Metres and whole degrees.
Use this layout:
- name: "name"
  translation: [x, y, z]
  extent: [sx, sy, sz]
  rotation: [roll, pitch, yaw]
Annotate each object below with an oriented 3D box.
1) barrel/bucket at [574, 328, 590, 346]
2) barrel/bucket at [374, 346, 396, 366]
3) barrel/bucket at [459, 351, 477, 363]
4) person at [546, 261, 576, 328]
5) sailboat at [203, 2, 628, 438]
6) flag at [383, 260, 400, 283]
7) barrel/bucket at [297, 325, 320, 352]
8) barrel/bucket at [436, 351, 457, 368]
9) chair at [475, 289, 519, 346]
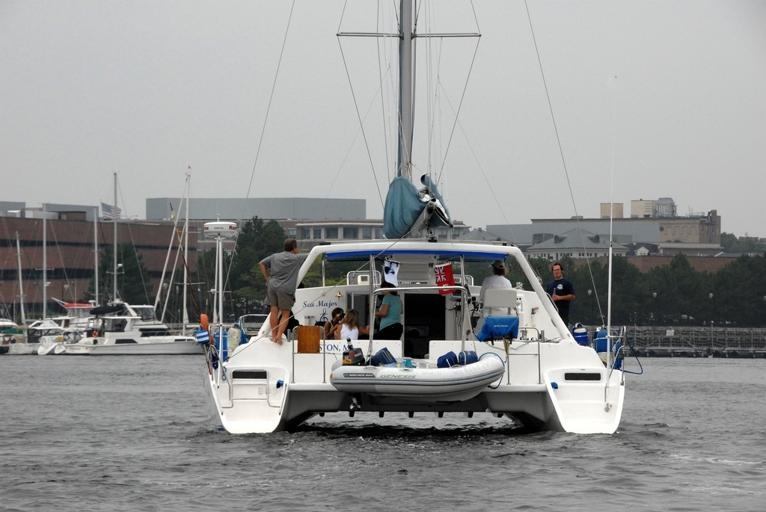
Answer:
- name: "barrel/bucket"
  translation: [5.533, 2.275, 44.957]
  extent: [0.363, 0.519, 0.515]
  rotation: [-1, -4, -2]
- name: "barrel/bucket"
  translation: [0.032, 2.739, 43.448]
  extent: [0.700, 0.439, 0.343]
  rotation: [4, -1, -14]
- name: "barrel/bucket"
  translation: [2.271, 2.768, 43.411]
  extent: [0.387, 0.351, 0.310]
  rotation: [-1, -3, -19]
- name: "person"
  translation: [4.875, 1.564, 45.936]
  extent: [0.828, 2.679, 0.897]
  rotation: [-2, 2, -32]
- name: "sailboat"
  translation: [0.747, 2.418, 49.852]
  extent: [8.980, 14.355, 13.690]
  rotation: [1, -5, -2]
- name: "flag"
  translation: [0.206, 0.444, 44.888]
  extent: [0.604, 0.730, 0.074]
  rotation: [4, -9, -36]
- name: "barrel/bucket"
  translation: [-2.043, 2.310, 44.024]
  extent: [0.606, 0.676, 0.355]
  rotation: [1, -10, -3]
- name: "barrel/bucket"
  translation: [1.700, 2.849, 43.371]
  extent: [0.453, 0.339, 0.166]
  rotation: [-32, -44, -5]
- name: "chair"
  translation: [3.129, 1.707, 44.239]
  extent: [0.912, 1.669, 0.877]
  rotation: [1, 0, -6]
